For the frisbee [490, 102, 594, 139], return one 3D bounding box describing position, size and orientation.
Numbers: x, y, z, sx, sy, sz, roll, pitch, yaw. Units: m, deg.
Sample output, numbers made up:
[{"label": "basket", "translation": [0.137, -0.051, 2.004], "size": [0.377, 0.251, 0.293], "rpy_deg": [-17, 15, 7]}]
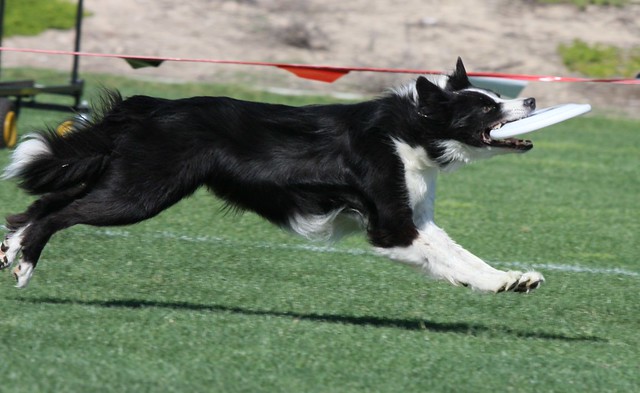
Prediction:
[{"label": "frisbee", "translation": [1.522, -0.524, 4.533], "size": [0.650, 0.041, 0.387], "rpy_deg": [-8, 3, -8]}]
